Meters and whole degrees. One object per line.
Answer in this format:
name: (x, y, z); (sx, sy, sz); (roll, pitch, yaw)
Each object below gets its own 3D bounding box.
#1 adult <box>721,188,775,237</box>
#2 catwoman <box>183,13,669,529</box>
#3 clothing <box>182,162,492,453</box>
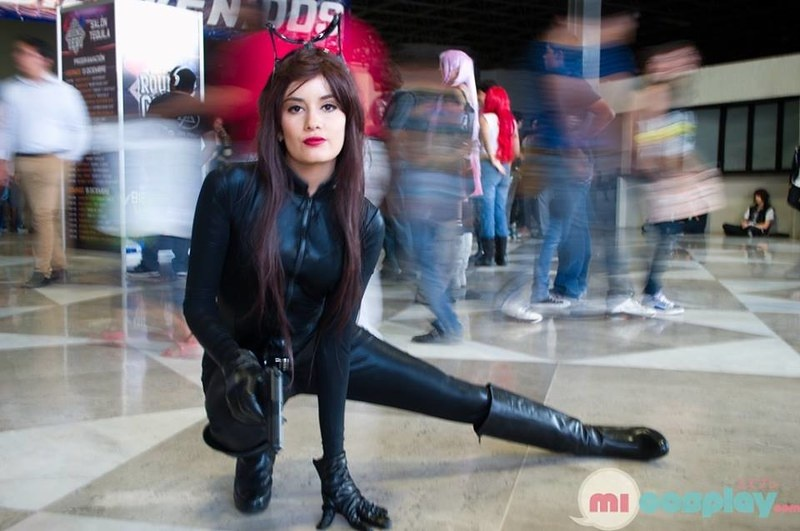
adult: (7.076, -1.033, 11.710); (0.781, 0.968, 0.939); (4, 14, -14)
catwoman: (-0.067, 0.010, 2.106); (1.335, 1.737, 0.514); (-6, 12, -27)
clothing: (-0.318, 0.092, 2.161); (1.154, 0.667, 0.670); (21, 22, 15)
